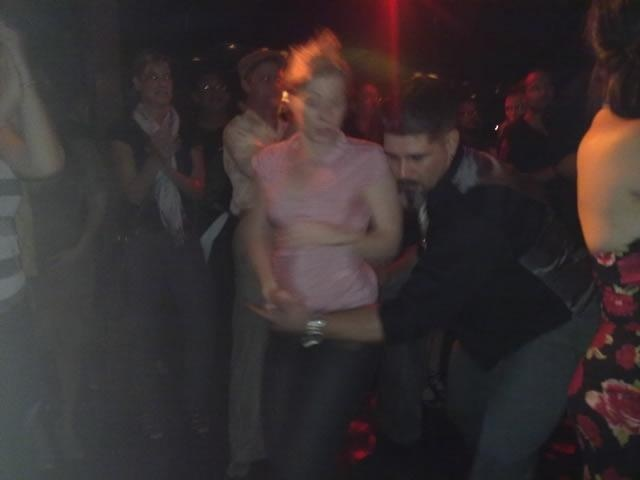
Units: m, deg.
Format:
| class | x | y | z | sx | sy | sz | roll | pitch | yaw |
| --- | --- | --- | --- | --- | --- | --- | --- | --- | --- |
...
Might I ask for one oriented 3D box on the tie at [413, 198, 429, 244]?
| class | x | y | z | sx | sy | sz | roll | pitch | yaw |
| --- | --- | --- | --- | --- | --- | --- | --- | --- | --- |
| tie | 0.433 | -0.097 | 2.463 | 0.039 | 0.225 | 0.040 | -2 | 7 | 10 |
